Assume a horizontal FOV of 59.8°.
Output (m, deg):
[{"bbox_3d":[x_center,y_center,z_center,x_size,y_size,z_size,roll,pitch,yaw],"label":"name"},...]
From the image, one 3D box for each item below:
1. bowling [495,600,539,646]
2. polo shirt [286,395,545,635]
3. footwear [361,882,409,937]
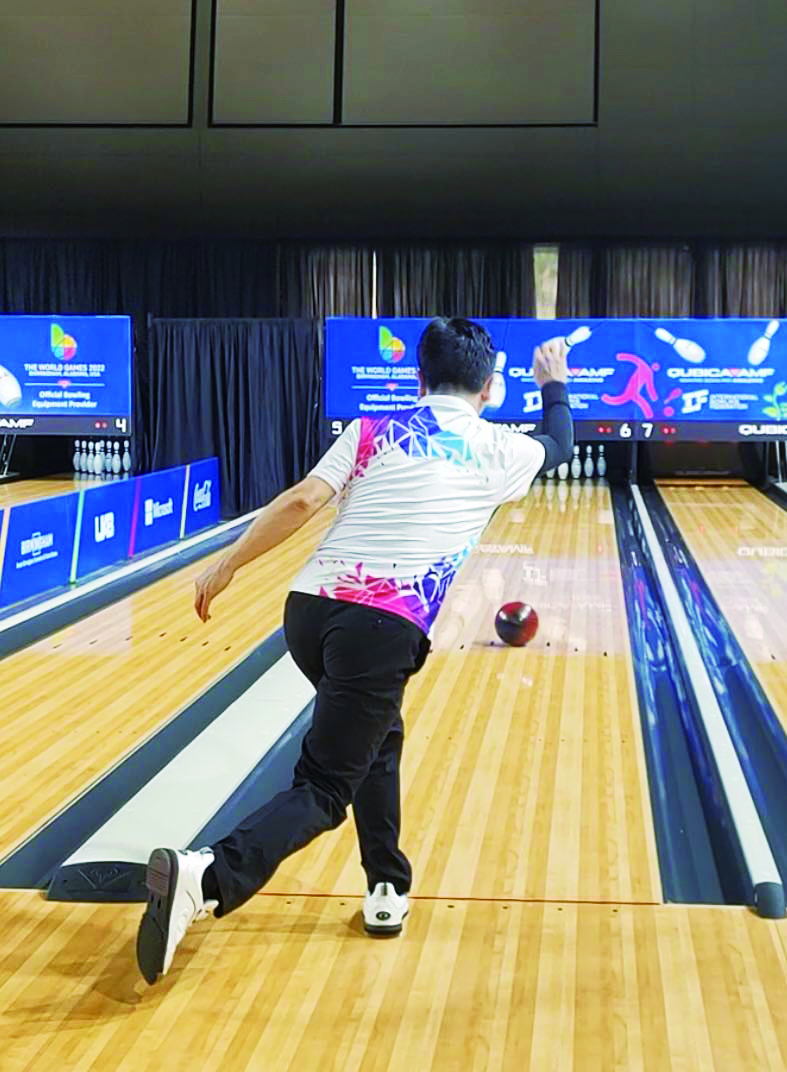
[{"bbox_3d":[0.461,0.343,2.610,0.136,0.189,0.139,24,7,42],"label":"bowling"},{"bbox_3d":[-0.001,-0.036,0.847,0.096,0.238,0.258,-28,49,-28],"label":"polo shirt"},{"bbox_3d":[-0.012,0.496,0.908,0.033,0.043,0.089,1,0,1],"label":"footwear"}]
